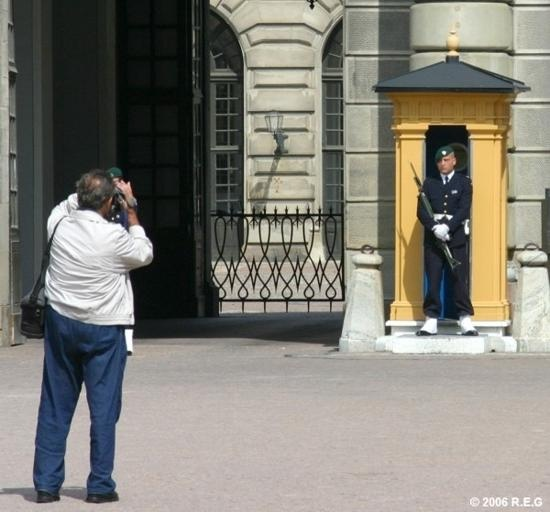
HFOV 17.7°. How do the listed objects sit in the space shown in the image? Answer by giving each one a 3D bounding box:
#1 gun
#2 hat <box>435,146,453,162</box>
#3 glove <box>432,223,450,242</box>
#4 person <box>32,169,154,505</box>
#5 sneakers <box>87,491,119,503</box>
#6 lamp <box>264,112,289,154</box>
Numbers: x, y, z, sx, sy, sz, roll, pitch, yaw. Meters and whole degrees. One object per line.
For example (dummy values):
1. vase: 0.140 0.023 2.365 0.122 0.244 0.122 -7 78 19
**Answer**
1. gun: 1.507 -0.413 17.406 0.303 1.072 0.554 0 -1 -39
2. hat: 1.643 -1.008 17.282 0.166 0.146 0.251 -1 -1 2
3. glove: 1.595 -0.240 17.141 0.129 0.171 0.080 -40 11 -20
4. person: -1.275 0.532 12.249 0.812 2.273 0.484 -1 -1 -6
5. sneakers: -1.178 1.619 12.069 0.201 0.079 0.077 0 0 -15
6. lamp: 0.033 -2.356 33.944 0.410 0.820 0.239 0 -1 -37
